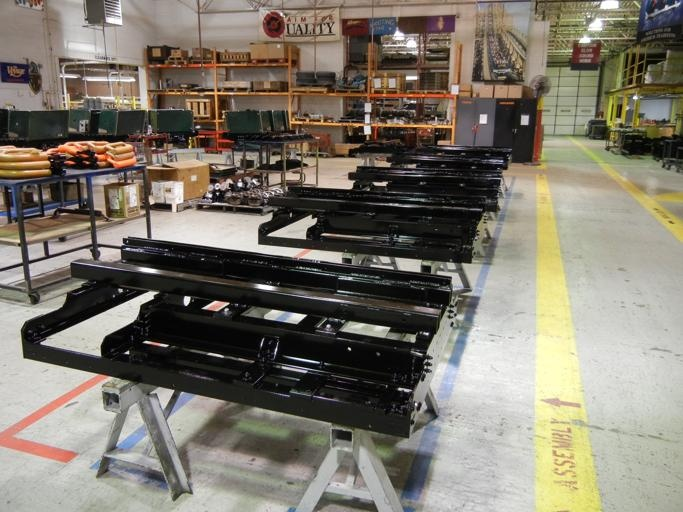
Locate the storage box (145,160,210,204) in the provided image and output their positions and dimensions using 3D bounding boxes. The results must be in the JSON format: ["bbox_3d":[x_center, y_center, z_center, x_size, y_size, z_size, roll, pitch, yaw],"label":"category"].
[{"bbox_3d":[-2.496,-1.167,7.703,0.953,0.557,0.588,-7,17,-20],"label":"storage box"}]

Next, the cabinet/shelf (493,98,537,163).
[{"bbox_3d":[4.411,-3.191,12.594,1.011,1.625,0.334,2,19,13],"label":"cabinet/shelf"}]

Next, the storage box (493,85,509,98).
[{"bbox_3d":[4.124,-4.248,12.726,0.489,0.348,0.343,5,13,19],"label":"storage box"}]

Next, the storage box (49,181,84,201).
[{"bbox_3d":[-3.792,-0.889,6.745,0.489,0.228,0.467,12,18,43],"label":"storage box"}]

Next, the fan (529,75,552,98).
[{"bbox_3d":[5.122,-4.358,12.651,0.558,0.560,0.427,-17,23,-41],"label":"fan"}]
